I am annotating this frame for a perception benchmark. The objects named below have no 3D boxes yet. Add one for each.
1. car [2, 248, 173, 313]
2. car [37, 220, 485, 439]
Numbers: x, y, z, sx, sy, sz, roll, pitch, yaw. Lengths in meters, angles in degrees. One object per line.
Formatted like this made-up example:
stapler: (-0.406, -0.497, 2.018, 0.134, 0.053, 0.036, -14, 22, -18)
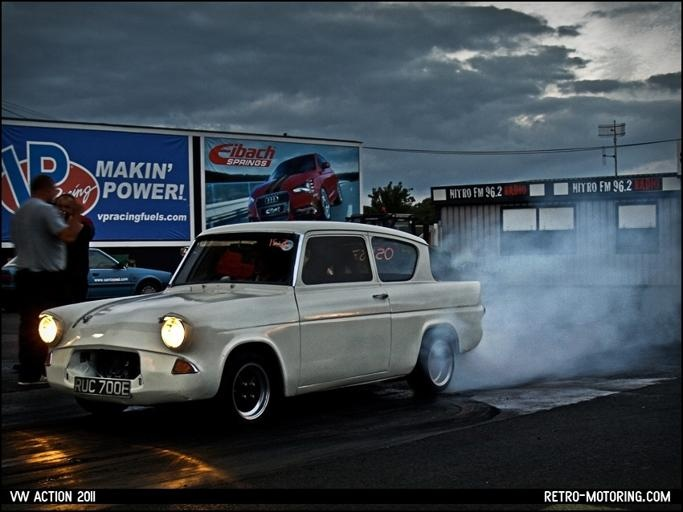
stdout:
car: (-6.089, 0.606, 16.342, 5.665, 1.800, 2.538, -3, 0, -37)
car: (-0.688, 0.616, 6.218, 3.580, 1.395, 2.067, 4, -7, -41)
